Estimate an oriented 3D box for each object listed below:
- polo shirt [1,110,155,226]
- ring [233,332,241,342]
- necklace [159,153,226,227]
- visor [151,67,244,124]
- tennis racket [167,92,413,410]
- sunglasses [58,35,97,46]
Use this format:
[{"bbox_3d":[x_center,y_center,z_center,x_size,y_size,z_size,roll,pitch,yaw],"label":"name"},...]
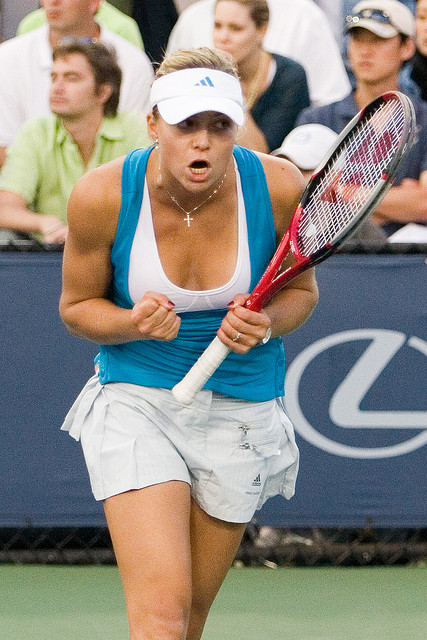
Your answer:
[{"bbox_3d":[-0.562,-0.636,3.671,0.599,0.340,0.389,1,38,-4],"label":"polo shirt"},{"bbox_3d":[0.058,0.042,2.140,0.004,0.015,0.015,38,44,18],"label":"ring"},{"bbox_3d":[-0.057,-0.320,2.177,0.212,0.265,0.012,0,25,-10],"label":"necklace"},{"bbox_3d":[-0.031,-0.543,2.207,0.244,0.129,0.303,-4,15,-25],"label":"visor"},{"bbox_3d":[0.223,-0.090,2.384,0.077,1.035,0.415,25,23,-33],"label":"tennis racket"},{"bbox_3d":[-0.555,-1.143,3.676,0.158,0.033,0.060,-1,38,-7],"label":"sunglasses"}]
